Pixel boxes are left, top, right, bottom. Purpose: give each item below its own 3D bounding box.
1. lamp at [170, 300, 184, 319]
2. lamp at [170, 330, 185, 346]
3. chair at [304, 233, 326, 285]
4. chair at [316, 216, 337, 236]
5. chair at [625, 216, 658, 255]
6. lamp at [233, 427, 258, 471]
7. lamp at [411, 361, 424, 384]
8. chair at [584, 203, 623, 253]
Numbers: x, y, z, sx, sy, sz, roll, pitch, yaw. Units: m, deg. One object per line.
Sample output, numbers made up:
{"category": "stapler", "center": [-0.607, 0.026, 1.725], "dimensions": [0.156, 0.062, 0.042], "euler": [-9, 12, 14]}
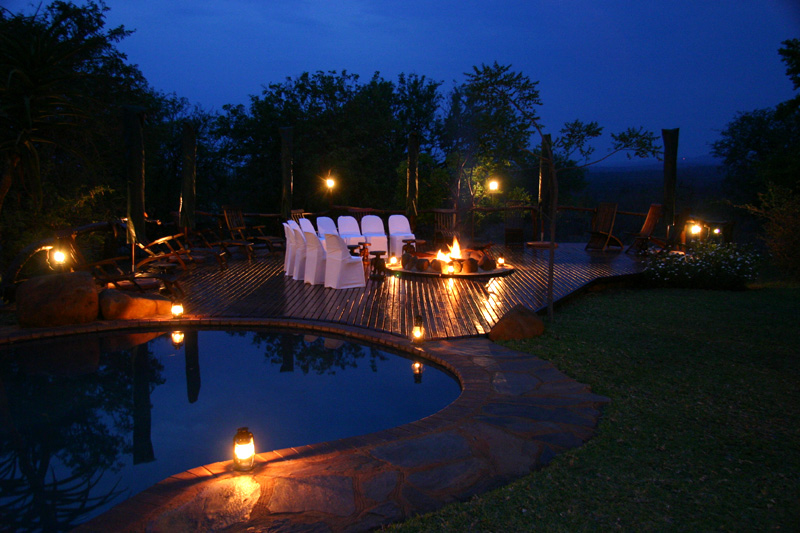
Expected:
{"category": "lamp", "center": [-3.866, 0.729, 9.209], "dimensions": [0.247, 0.243, 0.217], "euler": [-1, 5, -7]}
{"category": "lamp", "center": [-3.637, 1.163, 8.720], "dimensions": [0.203, 0.255, 0.218], "euler": [0, 0, -16]}
{"category": "chair", "center": [-1.915, -0.182, 11.416], "dimensions": [0.599, 1.119, 0.581], "euler": [1, 5, 19]}
{"category": "chair", "center": [-1.804, -0.964, 12.984], "dimensions": [0.373, 0.477, 0.671], "euler": [-2, 5, -14]}
{"category": "chair", "center": [7.060, -0.875, 15.498], "dimensions": [0.608, 0.931, 1.876], "euler": [2, 5, 25]}
{"category": "lamp", "center": [-1.573, 1.843, 5.373], "dimensions": [0.235, 0.394, 0.202], "euler": [0, -4, -16]}
{"category": "lamp", "center": [0.239, 1.467, 7.457], "dimensions": [0.158, 0.480, 0.154], "euler": [-2, 5, -7]}
{"category": "chair", "center": [6.193, -1.212, 16.354], "dimensions": [0.792, 1.411, 1.203], "euler": [1, 5, 20]}
